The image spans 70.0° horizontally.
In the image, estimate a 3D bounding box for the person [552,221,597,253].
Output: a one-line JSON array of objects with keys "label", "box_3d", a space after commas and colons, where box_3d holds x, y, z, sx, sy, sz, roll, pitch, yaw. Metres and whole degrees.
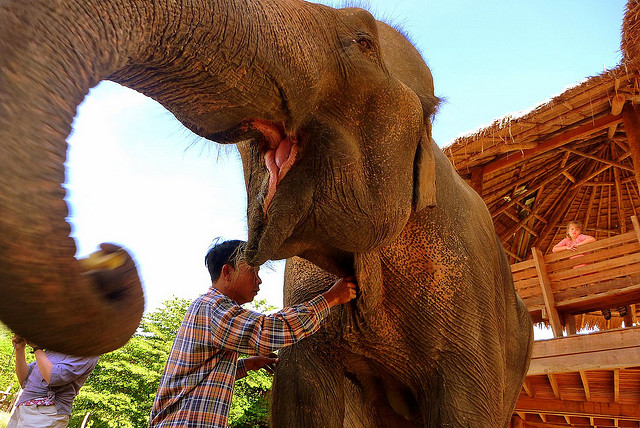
[{"label": "person", "box_3d": [4.030, 0.525, 7.264, 0.455, 0.806, 0.338, -8, -4, 11]}]
